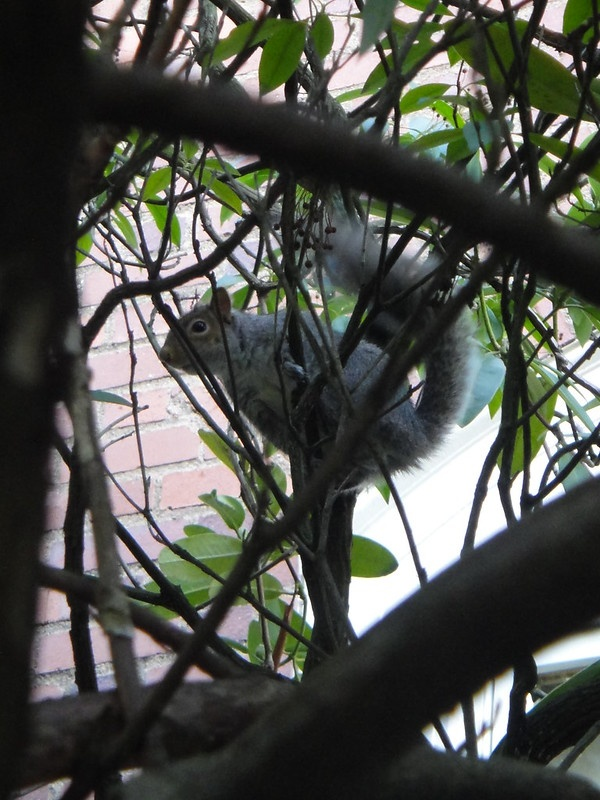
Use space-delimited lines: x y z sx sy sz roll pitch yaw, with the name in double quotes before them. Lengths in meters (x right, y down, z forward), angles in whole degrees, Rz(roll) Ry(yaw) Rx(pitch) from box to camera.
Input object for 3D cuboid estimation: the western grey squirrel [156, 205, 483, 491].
"western grey squirrel" 0.053 -0.089 1.638 0.537 0.391 0.192 19 -24 -20
